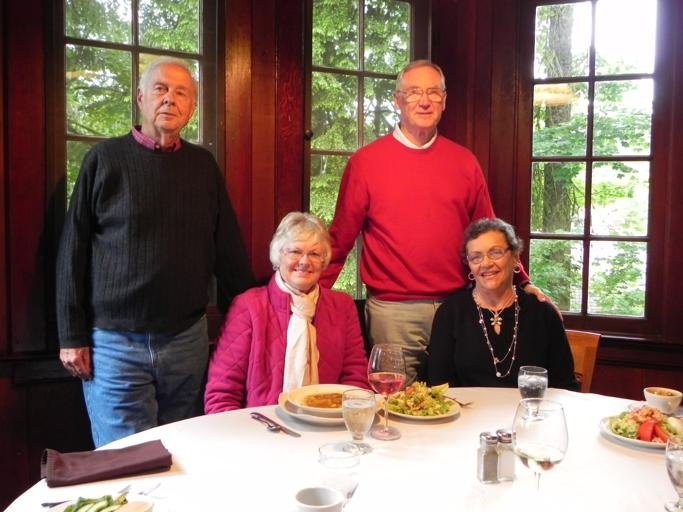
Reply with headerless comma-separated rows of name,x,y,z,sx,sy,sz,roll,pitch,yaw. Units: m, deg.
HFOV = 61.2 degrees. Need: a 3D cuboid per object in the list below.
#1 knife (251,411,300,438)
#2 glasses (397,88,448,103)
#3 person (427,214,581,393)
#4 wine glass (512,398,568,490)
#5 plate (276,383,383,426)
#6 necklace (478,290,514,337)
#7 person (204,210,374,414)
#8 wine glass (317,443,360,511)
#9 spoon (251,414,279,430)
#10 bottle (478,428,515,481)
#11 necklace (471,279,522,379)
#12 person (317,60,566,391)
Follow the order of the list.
knife,-0.221,0.550,1.892,0.057,0.019,0.222,1,3,-35
glasses,0.385,-0.766,2.778,0.224,0.069,0.092,0,14,-1
person,0.712,0.267,2.635,0.697,0.877,0.492,-4,4,19
wine glass,0.522,0.478,1.532,0.131,0.168,0.120,-5,15,-21
plate,-0.093,0.504,1.961,0.207,0.048,0.218,2,4,26
necklace,0.690,0.269,2.590,0.173,0.187,0.037,-4,8,25
person,-0.207,0.384,2.427,0.718,1.091,0.562,2,2,-25
wine glass,-0.008,0.609,1.660,0.078,0.100,0.090,3,7,16
spoon,-0.252,0.544,1.906,0.032,0.023,0.156,-3,5,-25
bottle,0.443,0.567,1.638,0.124,0.128,0.071,-6,15,-25
necklace,0.709,0.370,2.565,0.175,0.026,0.366,-9,48,18
person,0.458,0.167,2.965,1.304,2.253,0.441,-1,8,3
